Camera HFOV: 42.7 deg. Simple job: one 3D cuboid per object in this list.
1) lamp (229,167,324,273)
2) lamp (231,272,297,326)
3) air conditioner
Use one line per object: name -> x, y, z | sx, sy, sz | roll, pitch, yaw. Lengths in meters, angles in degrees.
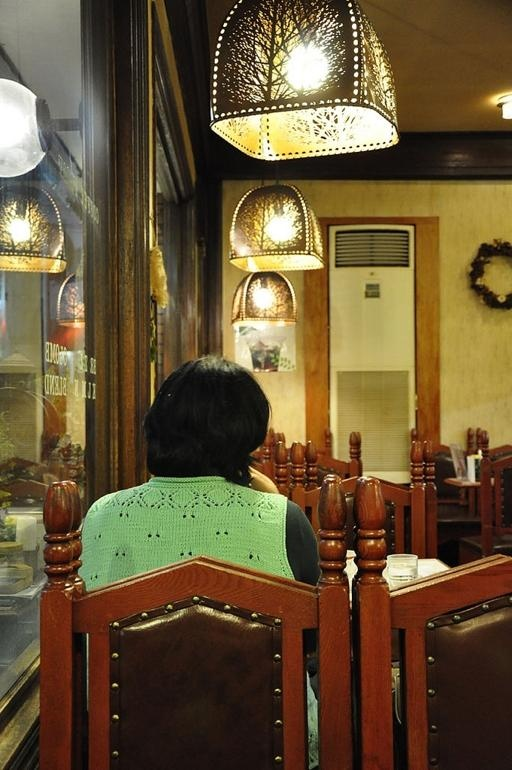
lamp -> 0.073, -0.565, 2.533 | 0.407, 0.429, 0.386 | 0, -1, 1
lamp -> 0.052, -0.459, 3.663 | 0.273, 0.255, 0.287 | 0, 4, 26
air conditioner -> 1.096, -0.406, 5.975 | 0.862, 2.270, 0.842 | 16, 28, 42
